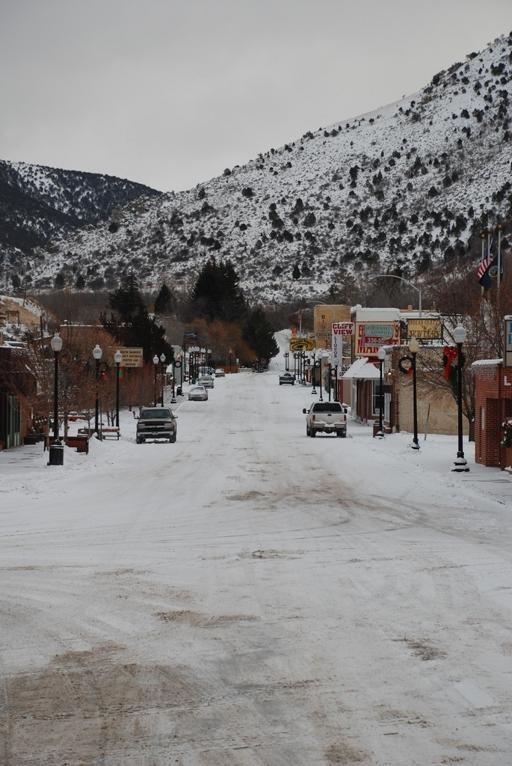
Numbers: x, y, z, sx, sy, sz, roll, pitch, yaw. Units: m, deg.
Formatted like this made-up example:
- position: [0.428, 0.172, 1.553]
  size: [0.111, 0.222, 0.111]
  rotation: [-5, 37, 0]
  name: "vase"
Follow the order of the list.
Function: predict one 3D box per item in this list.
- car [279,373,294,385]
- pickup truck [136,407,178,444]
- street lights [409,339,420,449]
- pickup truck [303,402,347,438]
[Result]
- position: [3.379, -0.320, 100.722]
  size: [1.539, 1.435, 2.232]
  rotation: [-1, -4, -6]
  name: "car"
- position: [-4.217, 1.814, 38.086]
  size: [1.617, 1.529, 1.879]
  rotation: [0, -4, -10]
  name: "pickup truck"
- position: [5.662, 0.493, 32.219]
  size: [0.444, 4.117, 0.493]
  rotation: [1, -3, -32]
  name: "street lights"
- position: [3.222, 1.691, 41.631]
  size: [1.752, 1.701, 1.609]
  rotation: [-1, -4, 1]
  name: "pickup truck"
